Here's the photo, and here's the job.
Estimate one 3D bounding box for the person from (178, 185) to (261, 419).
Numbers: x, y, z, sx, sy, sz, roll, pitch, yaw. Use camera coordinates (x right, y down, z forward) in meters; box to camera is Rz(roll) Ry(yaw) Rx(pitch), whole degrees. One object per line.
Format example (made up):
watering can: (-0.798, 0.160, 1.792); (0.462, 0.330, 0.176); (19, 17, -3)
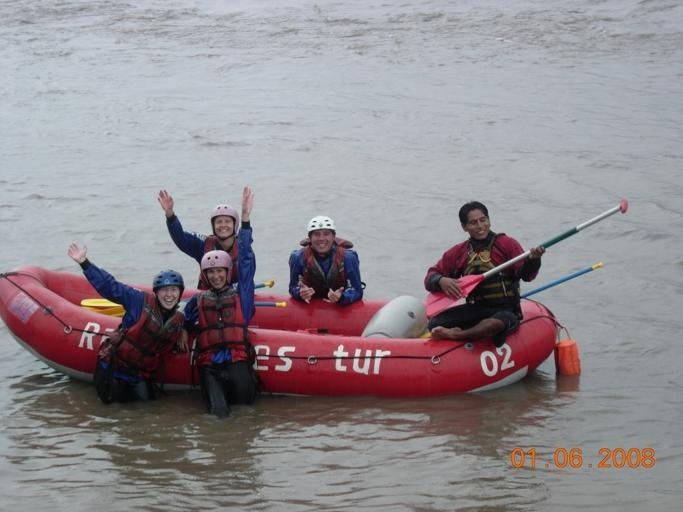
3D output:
person: (-1.476, 0.668, 14.412); (0.926, 2.619, 0.941); (-6, 15, -6)

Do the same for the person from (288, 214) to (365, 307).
person: (-0.241, 0.113, 15.483); (1.165, 0.996, 1.313); (-1, 16, 2)

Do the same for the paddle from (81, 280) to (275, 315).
paddle: (-2.398, 0.696, 15.548); (2.058, 0.261, 0.854); (3, 7, -9)
